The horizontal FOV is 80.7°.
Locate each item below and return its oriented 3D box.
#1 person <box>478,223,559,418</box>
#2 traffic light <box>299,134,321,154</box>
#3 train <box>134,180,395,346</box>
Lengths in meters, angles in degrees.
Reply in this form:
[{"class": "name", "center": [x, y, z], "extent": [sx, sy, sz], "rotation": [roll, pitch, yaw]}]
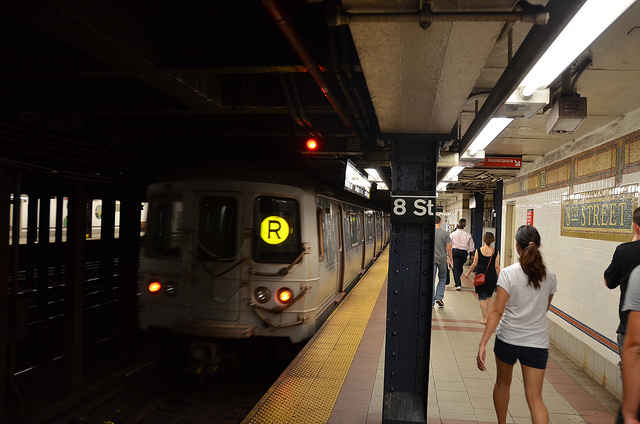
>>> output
[{"class": "person", "center": [2.216, 1.239, 4.253], "extent": [0.704, 2.146, 0.713], "rotation": [0, 3, 30]}, {"class": "traffic light", "center": [-0.168, -1.167, 6.477], "extent": [0.330, 0.312, 0.174], "rotation": [5, -1, 3]}, {"class": "train", "center": [-0.757, 0.888, 7.682], "extent": [2.243, 3.046, 4.881], "rotation": [1, 3, 39]}]
